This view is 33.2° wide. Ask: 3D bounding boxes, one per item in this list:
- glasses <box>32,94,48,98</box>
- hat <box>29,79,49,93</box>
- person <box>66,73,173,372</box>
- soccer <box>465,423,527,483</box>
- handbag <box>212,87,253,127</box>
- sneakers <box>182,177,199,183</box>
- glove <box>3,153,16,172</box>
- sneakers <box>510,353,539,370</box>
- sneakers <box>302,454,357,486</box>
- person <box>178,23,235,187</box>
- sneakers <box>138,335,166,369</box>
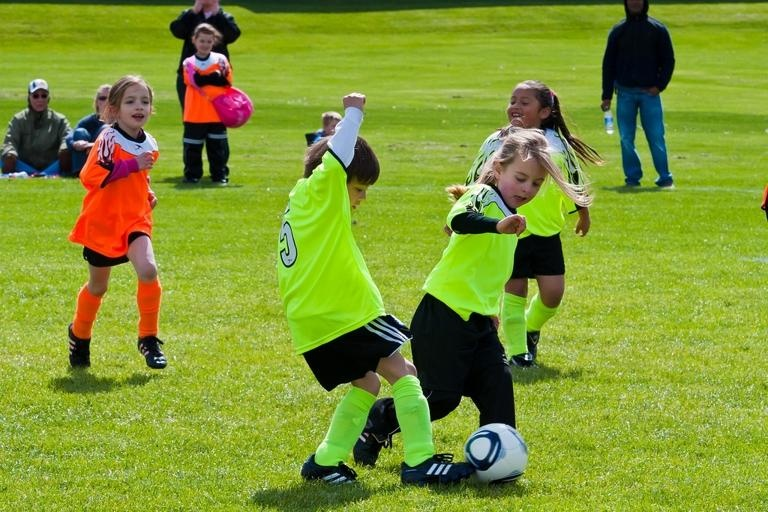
[{"bbox_3d":[-5.603,-2.609,21.017,0.240,0.091,0.102,-3,12,-25],"label":"glasses"},{"bbox_3d":[-5.654,-2.748,21.120,0.270,0.210,0.558,-1,11,-18],"label":"hat"},{"bbox_3d":[-3.075,-0.380,14.962,1.114,3.317,0.816,0,11,-14],"label":"person"},{"bbox_3d":[1.214,2.003,13.638,0.588,0.563,0.595,-9,1,25],"label":"soccer"},{"bbox_3d":[-2.440,-2.377,20.752,0.626,0.603,0.276,1,11,-8],"label":"handbag"},{"bbox_3d":[-3.204,-1.253,21.355,0.235,0.102,0.104,-1,5,20],"label":"sneakers"},{"bbox_3d":[-6.202,-1.537,21.349,0.209,0.290,0.092,-1,11,0],"label":"glove"},{"bbox_3d":[1.651,1.226,15.254,0.397,0.171,0.133,-2,9,-4],"label":"sneakers"},{"bbox_3d":[-0.567,2.217,13.474,0.617,0.279,0.240,2,2,-1],"label":"sneakers"},{"bbox_3d":[-2.875,-2.427,20.859,0.787,2.577,0.911,1,11,-9],"label":"person"},{"bbox_3d":[-2.700,1.084,15.065,0.195,0.264,0.529,-17,33,-29],"label":"sneakers"}]
